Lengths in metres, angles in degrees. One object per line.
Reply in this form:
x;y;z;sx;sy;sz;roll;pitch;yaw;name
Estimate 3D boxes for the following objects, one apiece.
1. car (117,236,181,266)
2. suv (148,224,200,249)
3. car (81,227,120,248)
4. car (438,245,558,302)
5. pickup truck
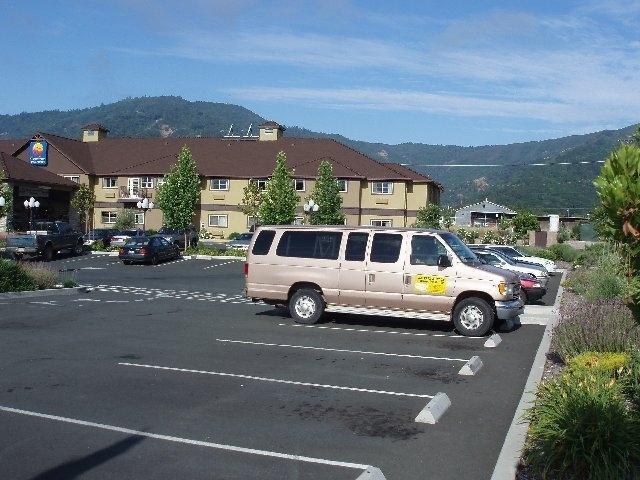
-11.045;0.626;36.134;1.598;1.755;3.987;2;2;14;car
-11.791;-0.255;48.038;2.154;2.075;4.685;1;-2;28;suv
-18.576;-0.299;46.472;1.641;1.286;3.693;-1;-3;10;car
6.434;1.432;21.301;4.928;1.729;2.312;3;10;10;car
-17.554;0.017;35.883;2.021;2.066;5.694;1;4;14;pickup truck
